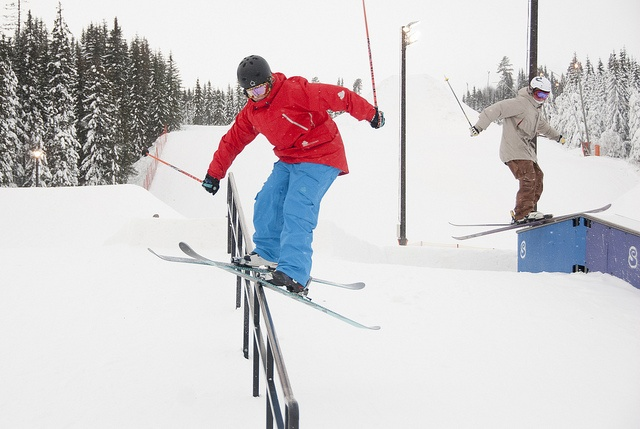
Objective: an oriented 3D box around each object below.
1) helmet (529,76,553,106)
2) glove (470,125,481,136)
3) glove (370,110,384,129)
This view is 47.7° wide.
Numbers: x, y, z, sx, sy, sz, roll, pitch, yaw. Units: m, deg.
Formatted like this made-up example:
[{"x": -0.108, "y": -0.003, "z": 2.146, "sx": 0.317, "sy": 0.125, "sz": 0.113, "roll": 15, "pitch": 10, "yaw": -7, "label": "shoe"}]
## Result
[{"x": 4.794, "y": -2.784, "z": 15.633, "sx": 0.422, "sy": 0.595, "sz": 0.576, "roll": -9, "pitch": 35, "yaw": -11, "label": "helmet"}, {"x": 3.274, "y": -1.781, "z": 15.196, "sx": 0.212, "sy": 0.087, "sz": 0.168, "roll": -4, "pitch": 39, "yaw": 2, "label": "glove"}, {"x": 1.037, "y": -1.737, "z": 13.156, "sx": 0.237, "sy": 0.351, "sz": 0.143, "roll": -1, "pitch": 2, "yaw": -4, "label": "glove"}]
